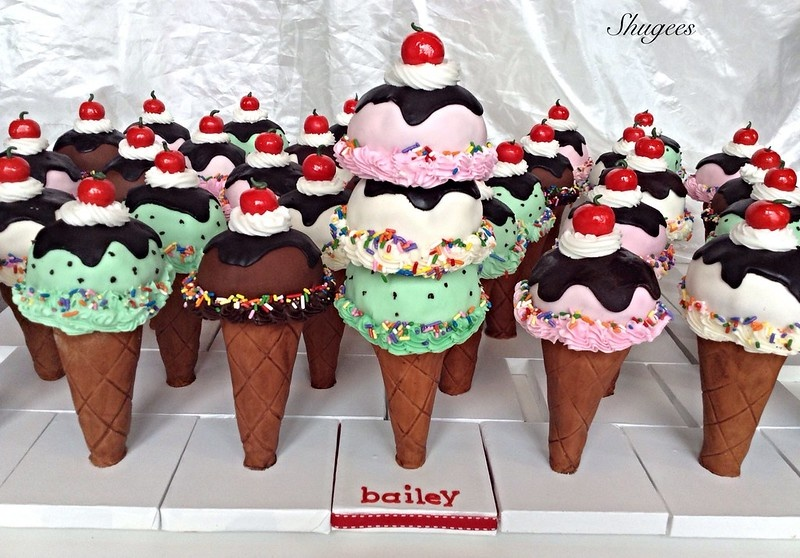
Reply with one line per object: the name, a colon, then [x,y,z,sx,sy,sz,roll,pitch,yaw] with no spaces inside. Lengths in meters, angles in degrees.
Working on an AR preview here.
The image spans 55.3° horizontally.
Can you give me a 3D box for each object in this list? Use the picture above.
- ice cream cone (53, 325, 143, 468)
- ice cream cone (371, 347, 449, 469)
ice cream cone: [-1.468,0.567,3.931,0.398,0.714,0.313,-14,32,-23]
ice cream cone: [0.071,0.639,3.965,0.319,0.628,0.319,-7,30,-13]
